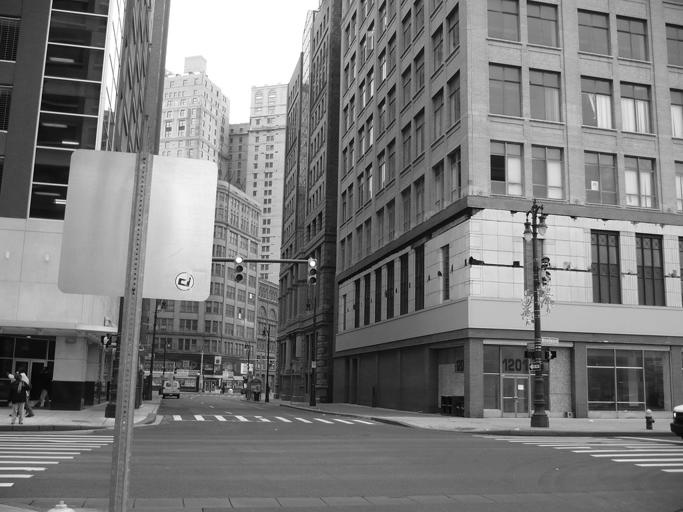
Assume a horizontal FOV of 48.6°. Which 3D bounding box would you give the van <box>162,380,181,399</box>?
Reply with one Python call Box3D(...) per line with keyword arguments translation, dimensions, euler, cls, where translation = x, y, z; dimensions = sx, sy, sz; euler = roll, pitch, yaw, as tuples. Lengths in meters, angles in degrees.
Box3D(translation=(-18.645, 14.659, 83.111), dimensions=(1.724, 1.775, 3.225), euler=(1, -7, -11), cls="van")
